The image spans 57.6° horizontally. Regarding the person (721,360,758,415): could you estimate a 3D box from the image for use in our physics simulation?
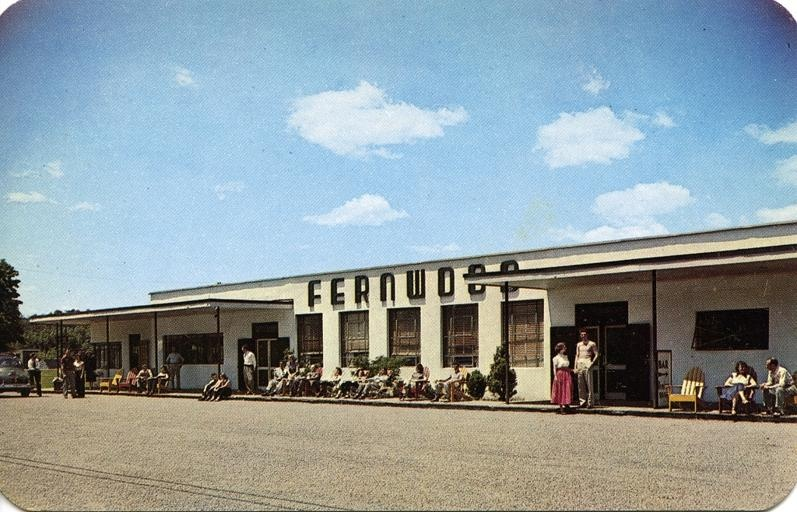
[{"bbox_3d":[8.826,3.384,18.853,0.896,1.104,1.701,-1,-5,31],"label":"person"}]

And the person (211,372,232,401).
[{"bbox_3d":[-7.036,5.192,28.573,0.722,1.006,0.840,8,-14,-37],"label":"person"}]

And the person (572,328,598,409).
[{"bbox_3d":[5.354,3.263,20.861,0.623,2.157,1.061,-3,-11,13],"label":"person"}]

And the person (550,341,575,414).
[{"bbox_3d":[4.684,3.507,20.946,0.584,1.969,1.046,-2,-11,9],"label":"person"}]

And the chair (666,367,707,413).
[{"bbox_3d":[7.834,3.606,19.636,0.823,1.125,1.150,-5,-9,40],"label":"chair"}]
